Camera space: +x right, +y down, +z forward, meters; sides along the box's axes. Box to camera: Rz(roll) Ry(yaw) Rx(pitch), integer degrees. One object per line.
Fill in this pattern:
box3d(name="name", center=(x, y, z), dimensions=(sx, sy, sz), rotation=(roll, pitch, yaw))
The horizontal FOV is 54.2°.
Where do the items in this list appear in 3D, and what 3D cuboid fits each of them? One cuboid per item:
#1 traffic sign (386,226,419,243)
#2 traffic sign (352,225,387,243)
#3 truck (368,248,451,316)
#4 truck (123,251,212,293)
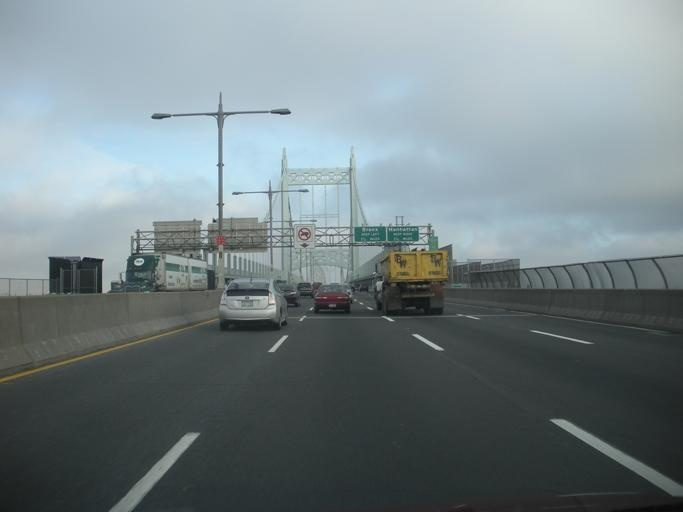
box3d(name="traffic sign", center=(4.716, -1.742, 51.737), dimensions=(2.392, 1.310, 0.673), rotation=(-1, 6, 0))
box3d(name="traffic sign", center=(2.195, -1.745, 52.160), dimensions=(2.413, 1.341, 0.872), rotation=(0, 6, 4))
box3d(name="truck", center=(2.710, 0.943, 27.054), dimensions=(1.921, 2.128, 3.951), rotation=(0, 1, 0))
box3d(name="truck", center=(-11.378, 0.970, 43.052), dimensions=(2.387, 3.300, 11.416), rotation=(-1, -1, 9))
